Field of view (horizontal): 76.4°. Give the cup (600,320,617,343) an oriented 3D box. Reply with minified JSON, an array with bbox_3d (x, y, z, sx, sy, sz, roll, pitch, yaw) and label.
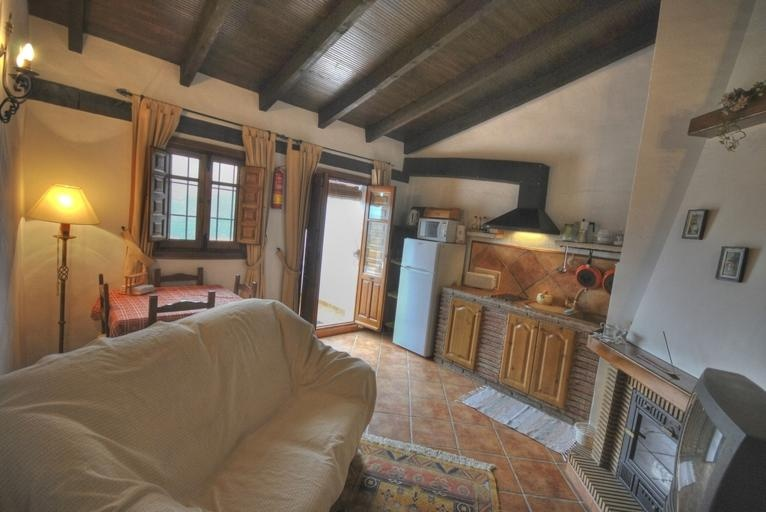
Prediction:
[{"bbox_3d":[2.030,0.688,4.363,0.097,0.097,0.183,5,4,12],"label":"cup"}]

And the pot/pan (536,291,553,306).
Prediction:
[{"bbox_3d":[1.890,0.499,5.682,0.176,0.140,0.257,8,5,40],"label":"pot/pan"}]

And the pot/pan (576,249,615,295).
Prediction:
[{"bbox_3d":[2.336,0.176,5.379,0.118,0.460,0.315,-12,15,-36],"label":"pot/pan"}]

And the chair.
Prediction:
[{"bbox_3d":[-2.155,0.469,4.564,0.859,0.531,0.958,8,6,33],"label":"chair"}]

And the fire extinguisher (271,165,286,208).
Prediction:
[{"bbox_3d":[-1.273,-0.826,5.930,0.081,0.526,0.216,7,5,31],"label":"fire extinguisher"}]

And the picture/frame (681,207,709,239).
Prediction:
[{"bbox_3d":[2.511,-0.253,3.879,0.052,0.309,0.228,13,1,-20],"label":"picture/frame"}]

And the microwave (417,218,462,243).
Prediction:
[{"bbox_3d":[0.757,-0.228,6.377,0.335,0.304,0.473,4,1,-35],"label":"microwave"}]

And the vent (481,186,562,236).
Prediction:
[{"bbox_3d":[1.818,-0.577,5.965,0.659,0.574,0.801,3,8,-36],"label":"vent"}]

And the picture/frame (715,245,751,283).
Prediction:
[{"bbox_3d":[2.613,0.073,3.613,0.182,0.215,0.058,7,5,34],"label":"picture/frame"}]

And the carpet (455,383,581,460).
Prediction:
[{"bbox_3d":[1.454,1.702,5.071,1.221,0.232,0.584,7,4,39],"label":"carpet"}]

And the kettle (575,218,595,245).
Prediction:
[{"bbox_3d":[2.287,-0.269,5.446,0.206,0.242,0.110,6,4,17],"label":"kettle"}]

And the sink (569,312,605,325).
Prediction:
[{"bbox_3d":[2.278,0.688,5.311,0.201,0.127,0.206,10,10,37],"label":"sink"}]
